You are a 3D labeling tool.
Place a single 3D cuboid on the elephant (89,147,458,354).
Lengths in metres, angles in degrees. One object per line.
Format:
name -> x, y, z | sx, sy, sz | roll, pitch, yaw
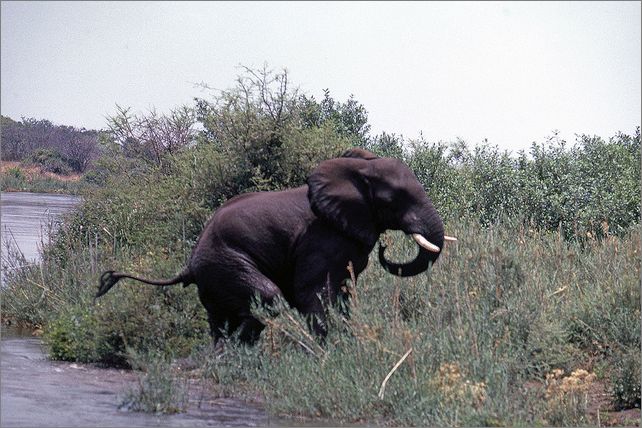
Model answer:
elephant -> -0.295, 0.784, 9.604 | 4.809, 2.543, 1.752 | -22, -19, 6
